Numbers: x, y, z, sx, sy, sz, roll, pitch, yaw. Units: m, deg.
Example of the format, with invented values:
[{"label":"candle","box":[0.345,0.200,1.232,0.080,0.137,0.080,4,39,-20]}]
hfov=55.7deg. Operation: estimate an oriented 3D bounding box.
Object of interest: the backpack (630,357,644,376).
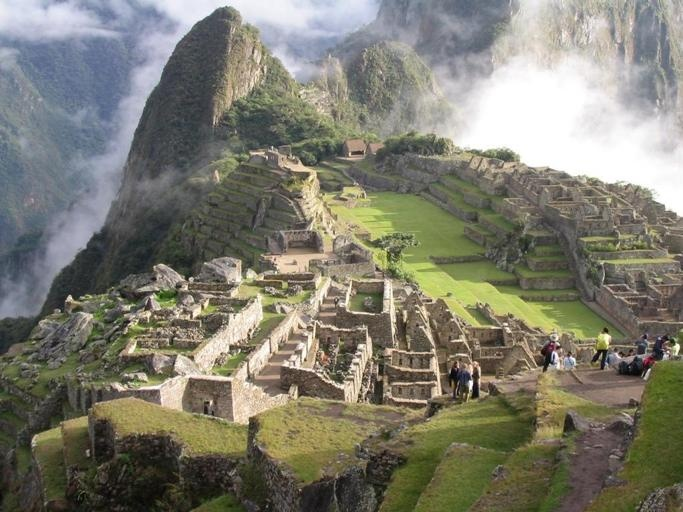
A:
[{"label":"backpack","box":[10.870,4.055,23.946,0.492,0.646,0.259,15,-11,-3]}]

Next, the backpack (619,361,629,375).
[{"label":"backpack","box":[10.451,4.151,23.990,0.320,0.407,0.424,7,4,5]}]
